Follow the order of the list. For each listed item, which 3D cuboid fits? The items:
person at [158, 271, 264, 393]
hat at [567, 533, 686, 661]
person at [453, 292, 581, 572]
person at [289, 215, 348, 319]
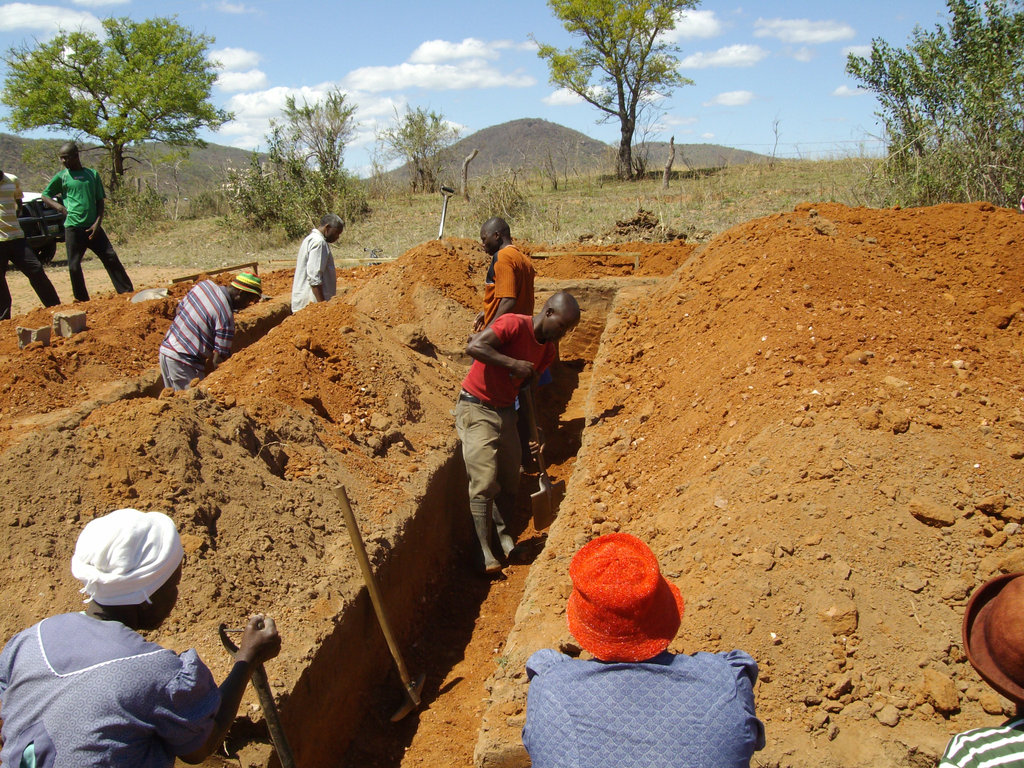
[{"bbox_3d":[-2.282,-0.418,6.969,0.716,0.872,0.815,-3,14,-6],"label":"person"},{"bbox_3d":[0.398,0.744,3.271,0.396,0.261,0.518,9,42,25],"label":"hat"},{"bbox_3d":[-0.011,0.341,6.274,0.753,2.054,0.923,-5,15,-13],"label":"person"},{"bbox_3d":[-1.778,-1.089,8.174,0.493,0.881,1.418,-4,14,-11],"label":"person"}]
